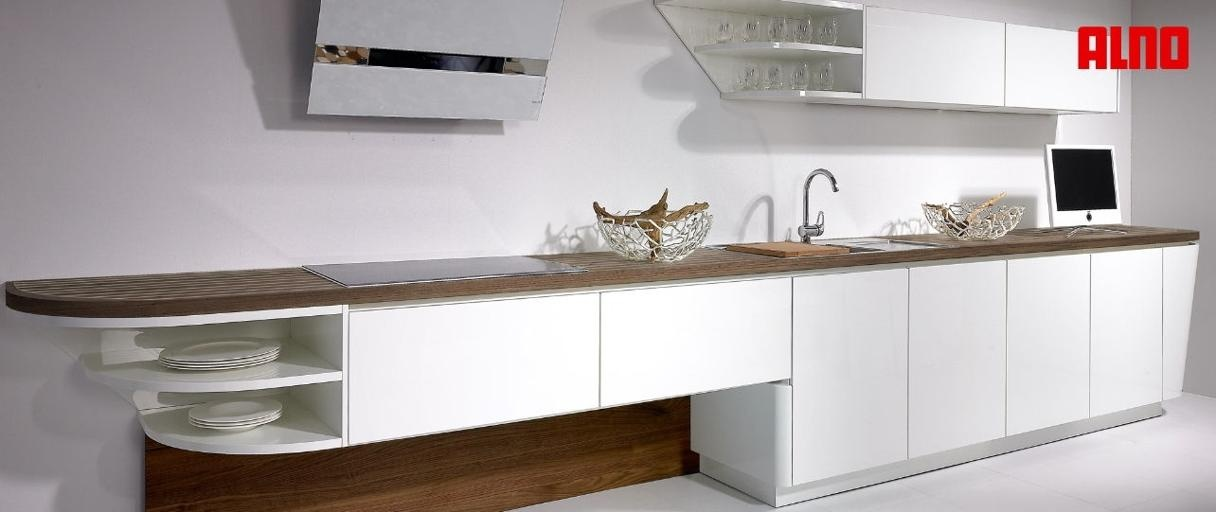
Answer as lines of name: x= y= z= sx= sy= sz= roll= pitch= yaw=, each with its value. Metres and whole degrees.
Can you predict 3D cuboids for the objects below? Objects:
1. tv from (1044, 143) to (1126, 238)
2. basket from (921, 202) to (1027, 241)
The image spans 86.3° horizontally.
tv: x=4.140 y=-0.569 z=5.669 sx=1.268 sy=0.815 sz=0.111 roll=-1 pitch=-4 yaw=-26
basket: x=3.130 y=-0.314 z=5.488 sx=0.806 sy=0.297 sz=0.450 roll=-8 pitch=11 yaw=-29
